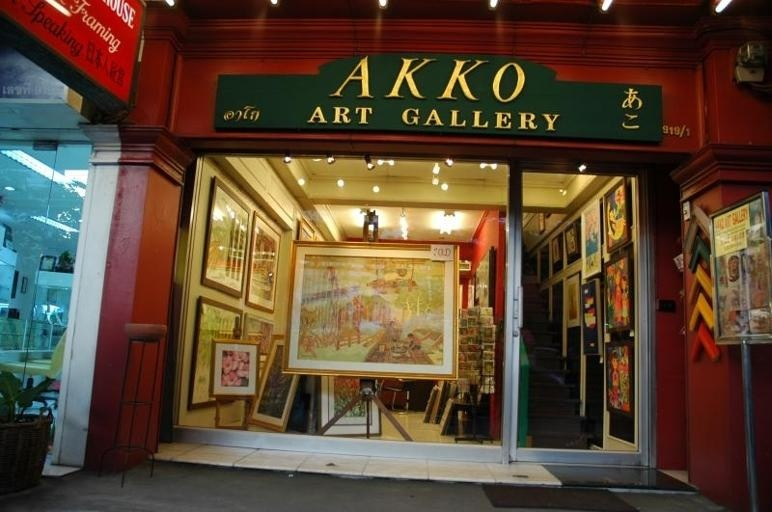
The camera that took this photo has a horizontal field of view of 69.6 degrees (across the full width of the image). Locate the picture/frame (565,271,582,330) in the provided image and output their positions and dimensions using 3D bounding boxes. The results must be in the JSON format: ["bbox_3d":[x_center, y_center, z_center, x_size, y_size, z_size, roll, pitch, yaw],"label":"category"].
[{"bbox_3d":[2.002,0.473,5.944,0.194,0.568,0.103,2,1,-17],"label":"picture/frame"}]

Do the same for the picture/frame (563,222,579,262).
[{"bbox_3d":[2.024,-0.152,6.044,0.174,0.477,0.093,2,1,-26],"label":"picture/frame"}]

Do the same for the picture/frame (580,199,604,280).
[{"bbox_3d":[2.230,-0.191,6.036,0.215,0.875,0.082,3,1,1],"label":"picture/frame"}]

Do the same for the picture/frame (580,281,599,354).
[{"bbox_3d":[2.182,0.649,5.941,0.192,0.802,0.144,2,1,-3],"label":"picture/frame"}]

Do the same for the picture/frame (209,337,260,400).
[{"bbox_3d":[-1.656,1.239,5.964,0.673,0.751,0.080,1,-18,-10],"label":"picture/frame"}]

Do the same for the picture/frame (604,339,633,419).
[{"bbox_3d":[2.426,1.280,5.837,0.350,0.738,0.031,8,-14,-18],"label":"picture/frame"}]

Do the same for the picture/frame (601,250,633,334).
[{"bbox_3d":[2.477,0.349,5.924,0.280,0.935,0.110,3,1,21],"label":"picture/frame"}]

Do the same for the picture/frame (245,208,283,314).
[{"bbox_3d":[-1.396,0.038,6.283,0.456,1.076,0.032,9,6,35],"label":"picture/frame"}]

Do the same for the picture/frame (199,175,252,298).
[{"bbox_3d":[-1.797,-0.214,6.211,0.474,0.986,0.239,2,1,-13],"label":"picture/frame"}]

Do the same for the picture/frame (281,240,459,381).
[{"bbox_3d":[-0.125,0.641,5.978,1.568,1.154,0.068,1,-12,4],"label":"picture/frame"}]

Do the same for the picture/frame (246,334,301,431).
[{"bbox_3d":[-1.187,1.360,5.906,0.424,0.767,0.233,3,1,15],"label":"picture/frame"}]
